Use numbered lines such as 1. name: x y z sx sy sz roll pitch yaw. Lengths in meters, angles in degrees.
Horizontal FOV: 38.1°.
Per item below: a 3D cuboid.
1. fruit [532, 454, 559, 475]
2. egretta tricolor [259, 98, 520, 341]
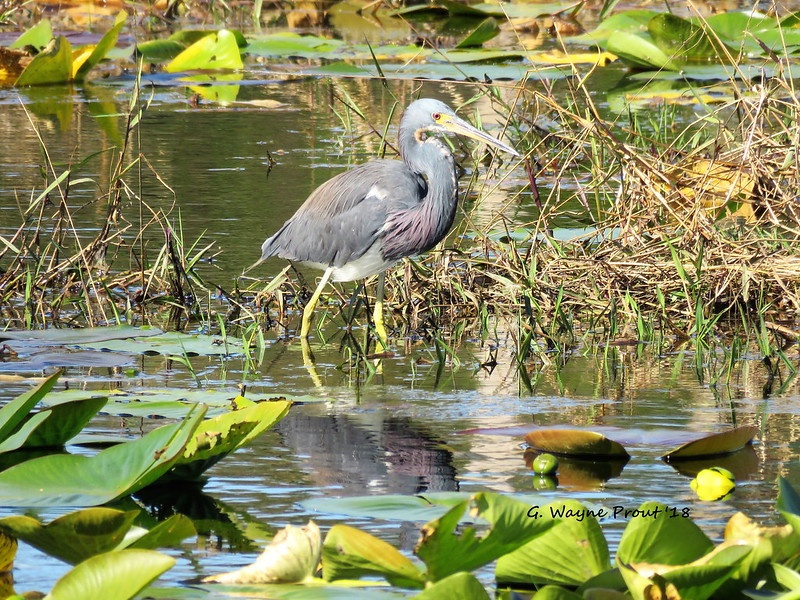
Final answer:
1. fruit: 0.497 0.542 3.762 0.095 0.049 0.068 3 -5 -36
2. egretta tricolor: -0.074 -0.571 6.022 0.918 0.936 0.699 -2 7 -22
